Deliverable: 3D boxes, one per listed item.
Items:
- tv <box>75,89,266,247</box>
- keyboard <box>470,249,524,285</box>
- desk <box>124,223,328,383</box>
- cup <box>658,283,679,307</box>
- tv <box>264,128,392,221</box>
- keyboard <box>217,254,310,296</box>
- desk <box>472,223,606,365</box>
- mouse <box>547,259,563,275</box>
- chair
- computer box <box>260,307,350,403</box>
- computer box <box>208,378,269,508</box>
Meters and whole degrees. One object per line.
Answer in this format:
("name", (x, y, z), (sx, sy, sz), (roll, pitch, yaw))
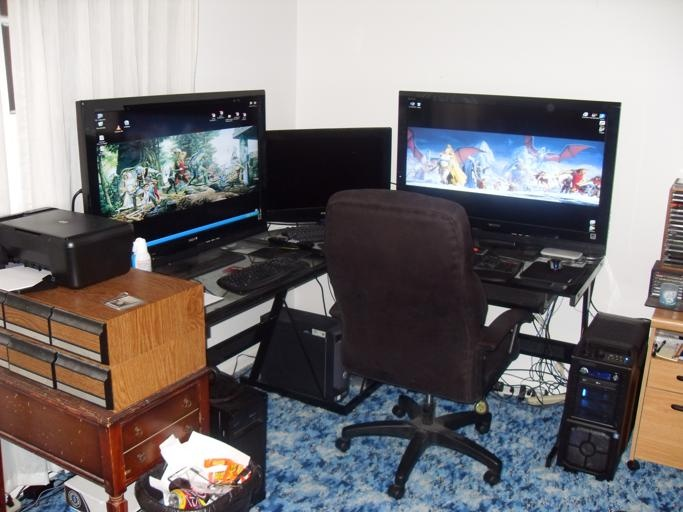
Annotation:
("tv", (-0.700, -0.369, 2.396), (0.083, 0.671, 0.938), (13, 21, 33))
("keyboard", (0.732, 0.052, 2.584), (0.177, 0.062, 0.198), (-20, 22, -28))
("desk", (-0.490, 0.078, 2.480), (0.578, 0.537, 1.122), (12, 25, 26))
("cup", (1.488, 0.179, 2.460), (0.079, 0.116, 0.107), (4, 7, 38))
("tv", (-0.102, -0.415, 2.730), (0.524, 0.373, 0.134), (-3, 11, -13))
("keyboard", (-0.350, 0.079, 2.315), (0.152, 0.060, 0.296), (14, 21, 33))
("desk", (0.965, 0.156, 2.634), (0.628, 0.593, 0.502), (8, 16, 28))
("mouse", (1.022, 0.051, 2.587), (0.050, 0.022, 0.068), (-2, 40, 20))
("chair", (0.394, 0.332, 2.498), (0.880, 1.324, 0.860), (-11, 18, -31))
("computer box", (-0.191, 0.527, 2.886), (0.468, 0.424, 0.249), (13, 21, 24))
("computer box", (-0.451, 0.735, 2.276), (0.226, 0.429, 0.226), (5, 18, 12))
